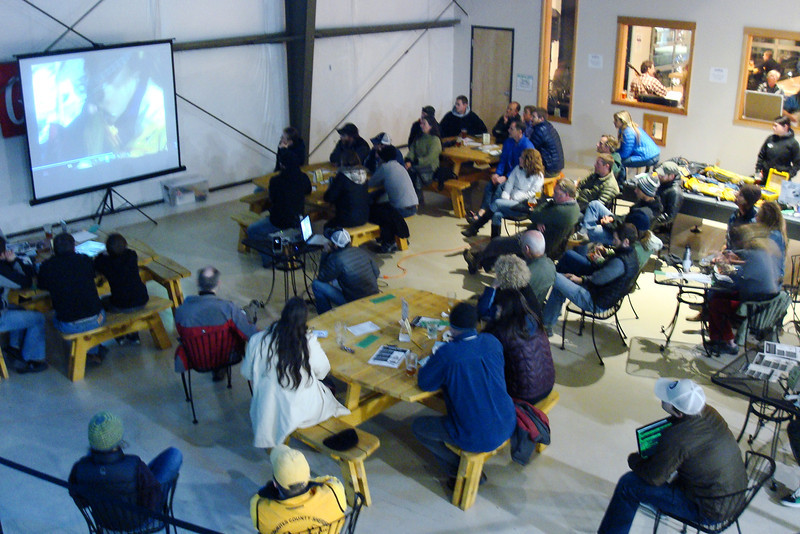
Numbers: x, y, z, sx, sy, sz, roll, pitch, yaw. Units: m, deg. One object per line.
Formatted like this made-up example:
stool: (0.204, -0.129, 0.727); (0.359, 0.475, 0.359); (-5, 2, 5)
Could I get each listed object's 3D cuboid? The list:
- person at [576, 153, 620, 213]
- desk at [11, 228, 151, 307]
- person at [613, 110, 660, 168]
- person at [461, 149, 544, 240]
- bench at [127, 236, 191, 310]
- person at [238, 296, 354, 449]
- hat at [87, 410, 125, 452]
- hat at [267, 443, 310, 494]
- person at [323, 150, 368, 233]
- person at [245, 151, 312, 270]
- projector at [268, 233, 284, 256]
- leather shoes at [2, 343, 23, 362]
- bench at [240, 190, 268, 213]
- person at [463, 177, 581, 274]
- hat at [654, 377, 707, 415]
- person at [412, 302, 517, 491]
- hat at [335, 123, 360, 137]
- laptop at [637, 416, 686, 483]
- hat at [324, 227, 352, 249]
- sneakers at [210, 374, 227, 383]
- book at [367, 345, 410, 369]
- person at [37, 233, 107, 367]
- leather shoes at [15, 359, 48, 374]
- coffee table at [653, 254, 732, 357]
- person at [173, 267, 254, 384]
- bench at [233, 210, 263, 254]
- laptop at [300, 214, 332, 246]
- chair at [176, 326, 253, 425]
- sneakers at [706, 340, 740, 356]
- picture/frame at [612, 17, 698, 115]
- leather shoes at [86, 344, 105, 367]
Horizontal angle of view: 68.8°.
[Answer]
person: (3.040, -1.312, 9.246); (0.698, 0.932, 0.709); (3, 35, 5)
desk: (-4.158, 0.198, 7.604); (1.469, 0.509, 2.015); (-7, -2, -31)
person: (4.127, -2.293, 10.407); (0.701, 0.952, 0.849); (-36, 38, -24)
person: (1.705, -1.131, 9.477); (1.084, 1.648, 0.630); (-3, 29, -16)
bench: (-3.171, 0.114, 7.682); (1.029, 0.249, 0.358); (35, 46, 29)
person: (-0.958, 1.024, 5.593); (0.830, 1.507, 1.082); (11, 14, 30)
hat: (-2.130, 1.183, 4.320); (0.212, 0.259, 0.283); (2, 19, -14)
hat: (-0.759, 1.371, 4.060); (0.256, 0.261, 0.311); (0, 13, -13)
person: (-0.793, -1.128, 8.749); (0.677, 1.202, 0.578); (1, 13, -8)
person: (-1.775, -0.794, 8.548); (0.903, 1.800, 1.248); (-1, 13, -15)
projector: (-1.650, -0.306, 7.846); (0.157, 0.268, 0.249); (-1, 13, -13)
leather shoes: (-4.586, 1.024, 6.979); (0.228, 0.231, 0.082); (20, 24, 22)
bench: (-2.511, -1.107, 10.104); (0.257, 0.318, 0.480); (31, 48, 33)
person: (1.704, -0.547, 8.535); (1.461, 1.794, 0.670); (17, 27, 14)
hat: (2.103, 0.997, 4.476); (0.344, 0.147, 0.244); (35, 65, 22)
person: (0.614, 1.185, 5.361); (0.959, 1.758, 0.960); (3, 18, 11)
hat: (-0.931, -2.448, 10.426); (0.377, 0.212, 0.281); (4, 25, -5)
laptop: (2.069, 1.350, 4.421); (0.456, 0.320, 0.360); (-9, -2, -27)
hat: (-0.708, -0.325, 6.891); (0.211, 0.255, 0.329); (0, 13, -13)
sneakers: (-2.091, 1.287, 6.746); (0.088, 0.040, 0.120); (23, 32, 28)
book: (-0.110, 0.864, 5.600); (0.201, 0.038, 0.230); (9, 36, 18)
person: (-3.693, 0.204, 6.560); (0.622, 1.112, 0.319); (-3, 14, -22)
leather shoes: (-4.288, 1.180, 6.927); (0.408, 0.145, 0.175); (0, -9, -7)
coffee table: (3.571, 0.408, 7.380); (1.027, 1.081, 1.112); (-9, -6, 38)
person: (-1.977, 0.606, 6.195); (0.808, 1.256, 0.649); (13, 34, 5)
bench: (-2.353, -0.535, 9.098); (0.433, 0.478, 0.472); (30, 47, 32)
laptop: (-1.176, -0.472, 7.944); (0.358, 0.453, 0.575); (-5, 2, 9)
chair: (-2.034, 1.003, 6.326); (0.733, 1.096, 0.772); (-6, 12, -8)
sneakers: (3.849, 0.987, 7.017); (0.395, 0.175, 0.151); (10, 30, 22)
picture/frame: (5.045, -3.987, 11.458); (1.918, 2.261, 0.164); (11, 20, 24)
leather shoes: (-3.683, 1.062, 7.014); (0.105, 0.219, 0.316); (8, 21, -2)
